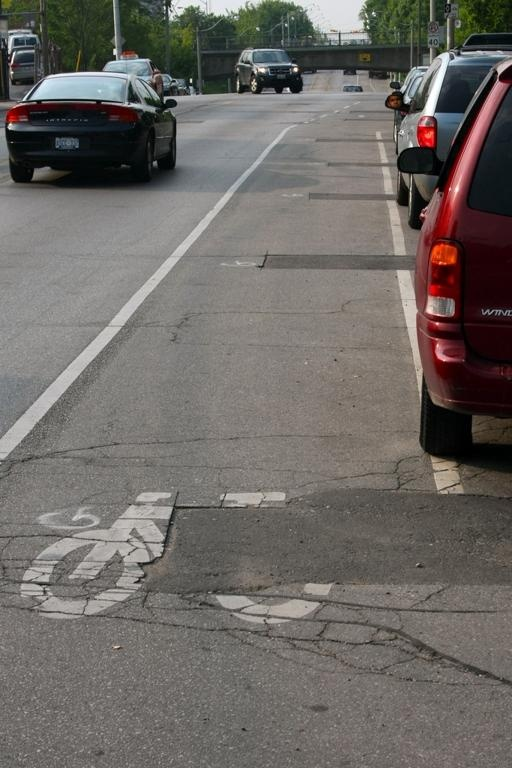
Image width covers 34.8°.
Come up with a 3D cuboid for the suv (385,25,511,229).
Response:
[{"bbox_3d":[2.468,-3.268,10.690,1.821,1.809,3.746,0,23,4],"label":"suv"}]

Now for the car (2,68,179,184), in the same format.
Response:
[{"bbox_3d":[-3.050,-4.916,15.337,3.246,2.092,2.328,-5,12,-27],"label":"car"}]
